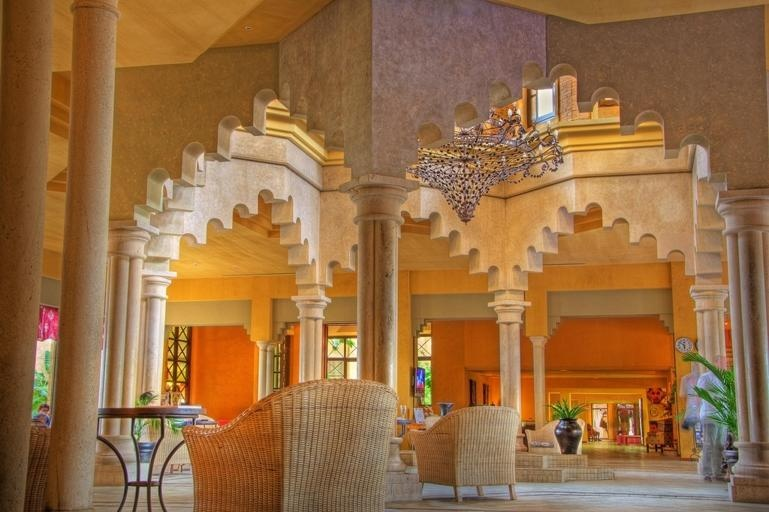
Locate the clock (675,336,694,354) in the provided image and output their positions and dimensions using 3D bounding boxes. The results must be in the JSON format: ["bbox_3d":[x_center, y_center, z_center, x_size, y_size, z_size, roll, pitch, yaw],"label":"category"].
[{"bbox_3d":[6.887,2.042,17.859,0.434,0.405,0.300,-5,-13,14],"label":"clock"}]

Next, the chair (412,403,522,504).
[{"bbox_3d":[1.006,2.254,9.159,1.103,1.024,1.181,5,-10,-25],"label":"chair"}]

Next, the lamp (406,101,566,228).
[{"bbox_3d":[1.781,-1.461,12.245,2.304,1.526,2.259,-1,-1,-30],"label":"lamp"}]
